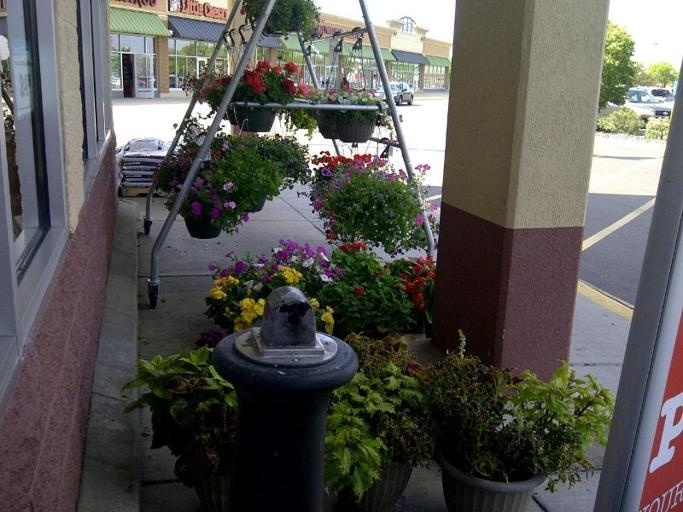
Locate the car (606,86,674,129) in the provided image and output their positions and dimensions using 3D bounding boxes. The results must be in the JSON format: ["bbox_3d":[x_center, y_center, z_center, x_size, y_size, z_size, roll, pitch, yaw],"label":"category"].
[{"bbox_3d":[12.729,-6.543,23.816,2.280,1.690,7.795,12,16,26],"label":"car"}]
